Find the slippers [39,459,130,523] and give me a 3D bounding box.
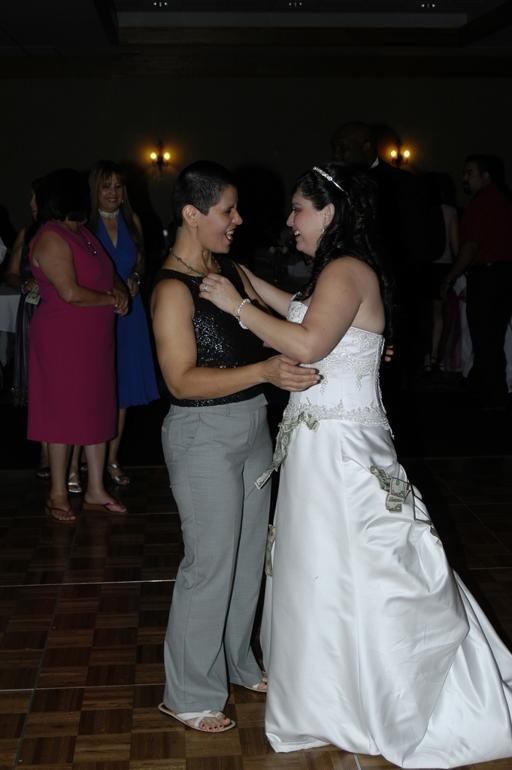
[{"bbox_3d":[-0.892,0.506,3.039,0.381,0.347,0.211,-3,5,-21],"label":"slippers"}]
